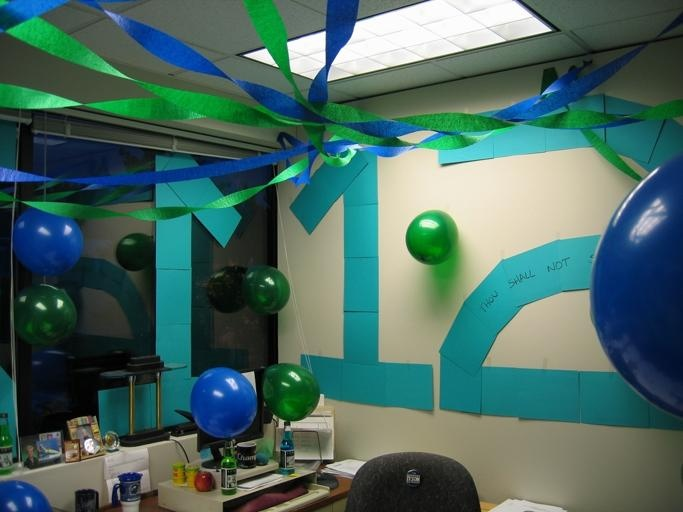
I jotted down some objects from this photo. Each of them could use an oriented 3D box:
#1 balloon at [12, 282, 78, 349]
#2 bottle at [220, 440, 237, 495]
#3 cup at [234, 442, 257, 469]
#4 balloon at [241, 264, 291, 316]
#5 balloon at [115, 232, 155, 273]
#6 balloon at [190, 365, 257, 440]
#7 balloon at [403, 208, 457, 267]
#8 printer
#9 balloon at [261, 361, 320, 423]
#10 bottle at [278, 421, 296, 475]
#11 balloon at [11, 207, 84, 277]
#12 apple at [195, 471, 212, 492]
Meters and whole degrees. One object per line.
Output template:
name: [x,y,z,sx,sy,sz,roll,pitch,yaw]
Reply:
balloon: [-1.443,0.296,2.415,0.256,0.315,0.264,-3,19,-14]
bottle: [-0.622,1.152,2.729,0.089,0.237,0.235,-1,-6,-13]
cup: [-0.560,1.162,2.908,0.111,0.129,0.107,-2,-5,0]
balloon: [-0.484,0.233,3.243,0.271,0.335,0.282,9,17,19]
balloon: [-1.300,-0.031,3.121,0.210,0.261,0.202,-3,26,-12]
balloon: [-0.557,0.686,2.319,0.280,0.308,0.175,-4,-6,21]
balloon: [0.542,-0.128,3.014,0.292,0.376,0.287,-10,11,-23]
printer: [-0.255,1.238,3.419,0.373,0.379,0.399,2,-24,-6]
balloon: [-0.243,0.680,2.507,0.267,0.335,0.275,4,2,15]
bottle: [-0.339,1.171,3.084,0.092,0.254,0.324,-2,-6,-6]
balloon: [-1.442,-0.053,2.389,0.251,0.311,0.256,11,18,30]
apple: [-0.730,1.208,2.678,0.090,0.092,0.092,-6,-30,28]
